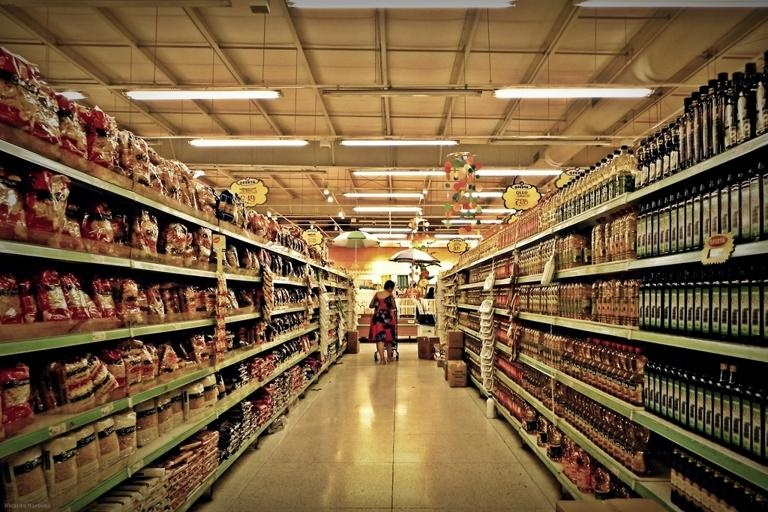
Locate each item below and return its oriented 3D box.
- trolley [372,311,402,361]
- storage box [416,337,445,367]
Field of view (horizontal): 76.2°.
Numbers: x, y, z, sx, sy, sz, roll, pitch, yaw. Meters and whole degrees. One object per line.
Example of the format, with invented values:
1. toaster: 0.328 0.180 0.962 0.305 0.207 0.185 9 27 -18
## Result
1. trolley: -0.009 1.662 11.150 0.579 1.340 0.817 -1 0 -1
2. storage box: 1.079 2.272 11.813 0.492 0.511 0.811 1 -6 1
